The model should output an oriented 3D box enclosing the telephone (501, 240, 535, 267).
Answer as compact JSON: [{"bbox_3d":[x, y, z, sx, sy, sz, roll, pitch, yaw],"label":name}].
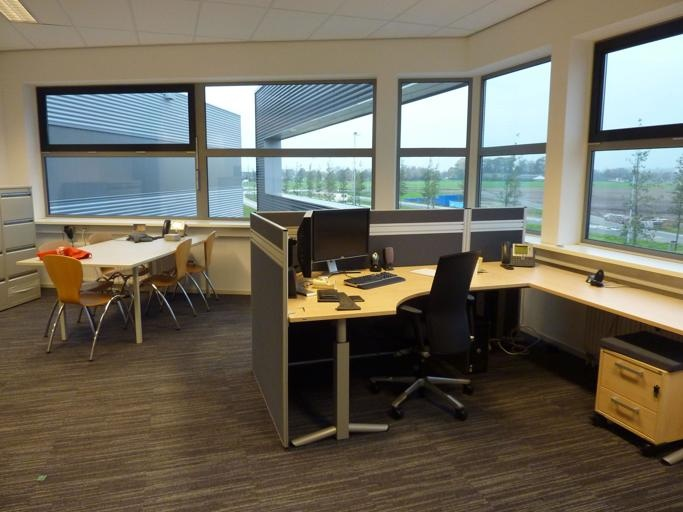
[{"bbox_3d":[1.783,-0.011,4.933,0.375,0.268,0.251,0,6,10],"label":"telephone"}]

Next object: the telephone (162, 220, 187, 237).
[{"bbox_3d":[-2.206,-0.372,6.366,0.293,0.249,0.172,5,-3,4],"label":"telephone"}]

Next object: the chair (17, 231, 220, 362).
[{"bbox_3d":[-2.303,0.349,5.516,1.040,0.941,1.426,-8,14,-23],"label":"chair"}]

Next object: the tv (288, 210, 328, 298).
[{"bbox_3d":[-0.354,-0.018,4.446,0.283,0.711,0.787,6,3,6],"label":"tv"}]

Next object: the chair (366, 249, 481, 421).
[{"bbox_3d":[0.686,0.609,4.122,0.920,1.220,0.951,3,2,21],"label":"chair"}]

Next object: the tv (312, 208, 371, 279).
[{"bbox_3d":[-0.016,-0.127,4.344,0.079,0.451,0.738,2,5,45],"label":"tv"}]
